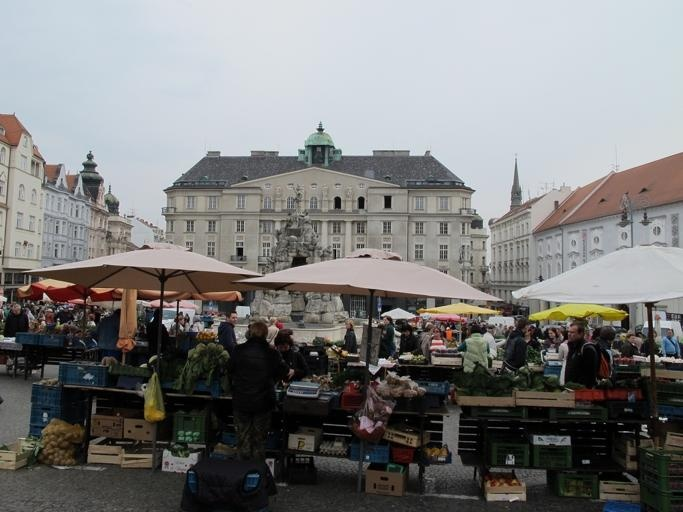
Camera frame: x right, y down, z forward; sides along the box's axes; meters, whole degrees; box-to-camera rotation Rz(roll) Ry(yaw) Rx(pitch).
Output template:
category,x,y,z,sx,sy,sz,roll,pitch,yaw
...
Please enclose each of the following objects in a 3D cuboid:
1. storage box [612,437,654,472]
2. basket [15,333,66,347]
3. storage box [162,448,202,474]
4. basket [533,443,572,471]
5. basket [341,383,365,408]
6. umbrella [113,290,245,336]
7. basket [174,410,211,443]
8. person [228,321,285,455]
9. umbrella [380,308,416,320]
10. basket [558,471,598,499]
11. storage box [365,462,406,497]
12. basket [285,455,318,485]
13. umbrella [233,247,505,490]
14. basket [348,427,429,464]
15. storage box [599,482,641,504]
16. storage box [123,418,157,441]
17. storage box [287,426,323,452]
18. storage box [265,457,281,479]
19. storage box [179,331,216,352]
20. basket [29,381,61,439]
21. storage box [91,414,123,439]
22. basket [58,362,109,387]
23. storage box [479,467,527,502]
category,x,y,z,sx,sy,sz,roll,pitch,yaw
storage box,5.585,3.734,14.695,0.599,0.505,0.826,0,-2,-3
basket,-9.012,2.514,22.991,0.775,0.174,0.693,0,-4,4
storage box,-3.194,4.040,15.287,0.824,0.486,0.818,1,-15,2
basket,3.969,3.783,14.444,0.648,0.359,0.498,0,-3,5
basket,0.232,2.743,14.969,0.474,0.214,0.895,-1,-4,0
umbrella,-5.028,1.230,21.003,2.165,1.269,2.157,0,-2,22
basket,-2.988,3.409,15.462,0.626,0.548,0.609,1,-5,1
person,-1.556,2.514,14.490,1.082,2.599,0.900,0,-1,0
umbrella,3.011,2.983,39.409,2.122,0.682,2.001,0,-7,8
basket,4.431,4.303,14.389,0.539,0.310,0.526,2,-2,-34
storage box,0.871,4.230,14.656,0.747,0.411,0.750,5,6,21
basket,-0.799,4.112,14.938,0.580,0.402,0.529,1,-5,-3
umbrella,0.647,0.952,15.619,3.534,2.136,3.248,5,4,-24
basket,0.919,3.719,14.637,1.703,0.693,1.401,-2,0,5
storage box,5.224,4.409,14.353,0.578,0.232,0.413,1,-6,8
storage box,-4.082,3.495,15.540,0.772,0.471,0.438,2,-1,8
storage box,-0.703,3.582,14.904,0.386,0.219,0.543,0,0,8
storage box,-1.365,4.087,14.789,0.187,0.377,0.346,-4,-10,33
storage box,-4.098,2.315,21.092,0.990,0.412,0.957,0,-6,0
basket,-6.062,3.074,15.668,0.579,1.147,0.310,0,5,21
storage box,-4.768,3.450,15.552,0.528,0.317,0.516,2,-3,-2
basket,-5.274,2.408,15.555,1.099,0.453,0.330,-2,-9,22
storage box,3.054,4.317,14.366,0.824,0.498,0.496,0,-8,11
